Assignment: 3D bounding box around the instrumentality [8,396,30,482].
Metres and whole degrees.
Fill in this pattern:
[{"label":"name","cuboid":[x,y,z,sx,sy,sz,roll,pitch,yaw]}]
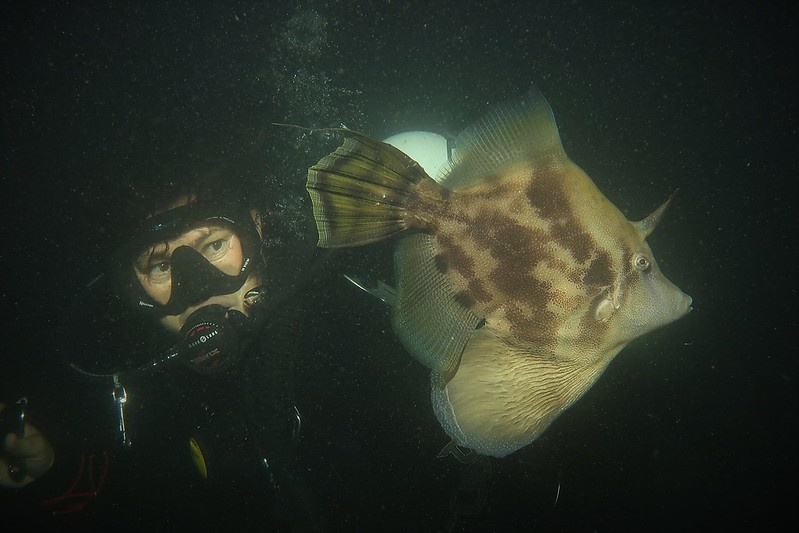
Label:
[{"label":"instrumentality","cuboid":[-3.070,1.370,7.395,0.137,0.509,0.370,8,0,-19]}]
